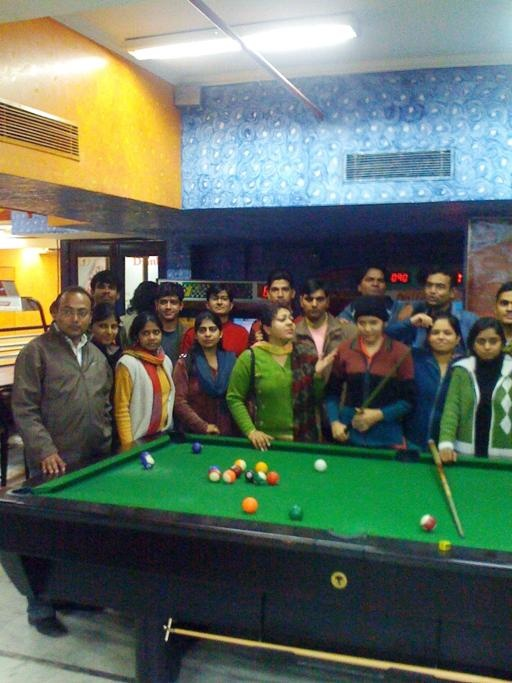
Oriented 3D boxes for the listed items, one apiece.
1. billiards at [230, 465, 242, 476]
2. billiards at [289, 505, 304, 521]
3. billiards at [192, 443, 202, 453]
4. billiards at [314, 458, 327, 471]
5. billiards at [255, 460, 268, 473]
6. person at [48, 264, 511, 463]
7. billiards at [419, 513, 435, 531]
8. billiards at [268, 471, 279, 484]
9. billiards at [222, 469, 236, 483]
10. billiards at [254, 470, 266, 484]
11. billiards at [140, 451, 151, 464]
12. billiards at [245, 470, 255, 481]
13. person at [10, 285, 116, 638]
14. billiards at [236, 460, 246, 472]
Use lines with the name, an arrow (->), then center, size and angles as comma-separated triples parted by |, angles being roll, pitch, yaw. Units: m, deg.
billiards -> -0.070, 0.456, 2.056 | 0.032, 0.026, 0.035 | -32, -8, -9
billiards -> 0.108, 0.487, 1.656 | 0.040, 0.043, 0.036 | -1, -5, -11
billiards -> -0.241, 0.438, 2.380 | 0.036, 0.040, 0.035 | -2, 37, -9
billiards -> 0.232, 0.445, 2.103 | 0.042, 0.040, 0.040 | 0, -2, 3
billiards -> 0.020, 0.452, 2.085 | 0.037, 0.041, 0.035 | 5, 32, -19
person -> 0.149, 0.134, 2.917 | 1.141, 0.566, 0.222 | 0, -10, 9
billiards -> 0.456, 0.482, 1.579 | 0.042, 0.046, 0.039 | -10, 43, 14
billiards -> 0.055, 0.455, 1.955 | 0.037, 0.040, 0.035 | -3, 4, 18
billiards -> -0.091, 0.462, 1.986 | 0.038, 0.040, 0.041 | 6, 21, 34
billiards -> 0.021, 0.461, 1.994 | 0.034, 0.039, 0.041 | -22, 41, 22
billiards -> -0.411, 0.436, 2.169 | 0.031, 0.049, 0.035 | -25, -18, 17
billiards -> -0.014, 0.463, 2.022 | 0.030, 0.036, 0.037 | 11, -31, 15
person -> -0.875, 0.545, 2.763 | 0.383, 1.542, 0.551 | 0, 1, 32
billiards -> -0.047, 0.449, 2.103 | 0.035, 0.040, 0.034 | 0, 13, 24
